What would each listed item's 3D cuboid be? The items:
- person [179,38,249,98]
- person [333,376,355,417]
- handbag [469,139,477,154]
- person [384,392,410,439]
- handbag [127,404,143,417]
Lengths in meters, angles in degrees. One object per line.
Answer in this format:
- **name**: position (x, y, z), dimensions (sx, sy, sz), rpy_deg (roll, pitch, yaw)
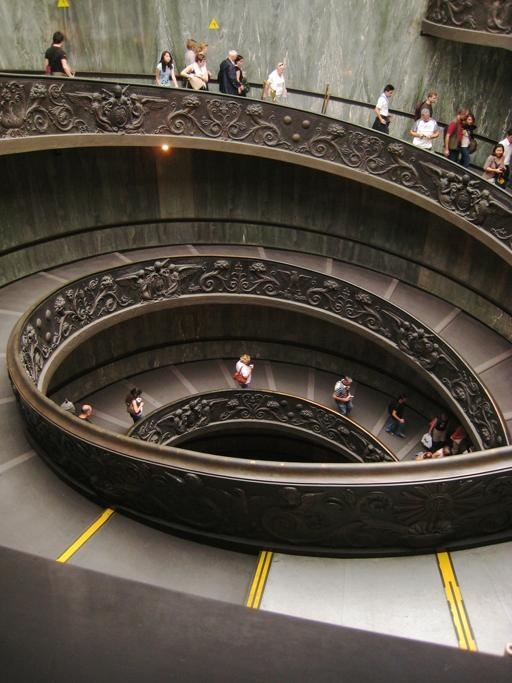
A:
- **person**: position (-0.974, -6.314, 11.799), dimensions (1.347, 0.974, 1.068), rpy_deg (12, -40, 7)
- **person**: position (2.490, 1.623, 14.426), dimensions (0.409, 0.428, 1.072), rpy_deg (20, -17, 21)
- **handbag**: position (4.811, -4.351, 11.318), dimensions (0.139, 0.276, 0.222), rpy_deg (-8, -46, 27)
- **person**: position (3.977, 2.153, 14.323), dimensions (0.545, 0.424, 1.159), rpy_deg (30, -24, 32)
- **handbag**: position (-2.879, 1.580, 12.083), dimensions (0.316, 0.328, 0.307), rpy_deg (-4, -40, -19)
